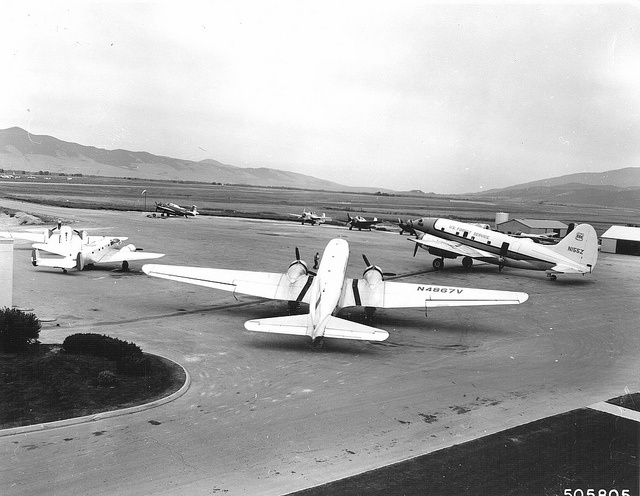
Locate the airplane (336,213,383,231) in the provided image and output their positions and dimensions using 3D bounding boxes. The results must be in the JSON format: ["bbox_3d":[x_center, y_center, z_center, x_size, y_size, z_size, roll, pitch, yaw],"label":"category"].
[{"bbox_3d":[5.877,-3.367,82.481,3.388,1.785,3.296,8,6,26],"label":"airplane"}]
